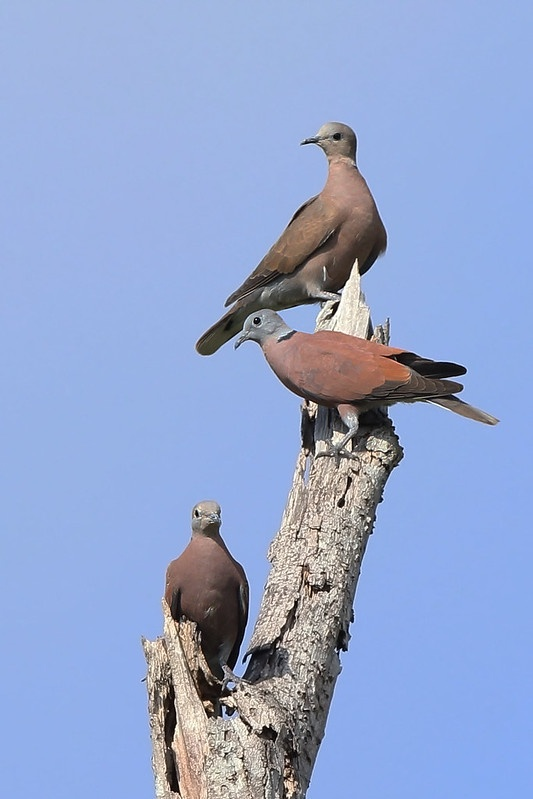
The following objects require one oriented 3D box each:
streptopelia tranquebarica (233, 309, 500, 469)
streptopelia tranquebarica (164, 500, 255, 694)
[{"bbox_3d":[0.519,-0.103,7.856,1.330,0.962,0.465,-6,2,13],"label":"streptopelia tranquebarica"},{"bbox_3d":[-0.280,1.014,7.667,0.414,0.610,0.693,-10,-36,27],"label":"streptopelia tranquebarica"}]
